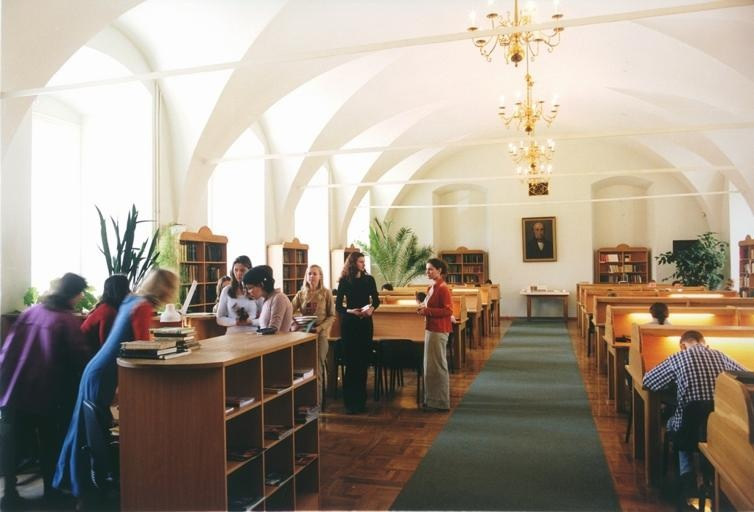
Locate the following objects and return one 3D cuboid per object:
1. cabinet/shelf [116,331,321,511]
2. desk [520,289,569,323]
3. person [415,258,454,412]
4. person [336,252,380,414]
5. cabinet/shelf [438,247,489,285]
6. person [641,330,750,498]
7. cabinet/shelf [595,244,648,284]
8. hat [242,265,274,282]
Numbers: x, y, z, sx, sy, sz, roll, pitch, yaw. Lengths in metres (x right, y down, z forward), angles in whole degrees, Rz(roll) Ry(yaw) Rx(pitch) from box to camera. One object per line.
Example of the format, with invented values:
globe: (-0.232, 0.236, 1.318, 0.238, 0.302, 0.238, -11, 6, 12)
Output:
cabinet/shelf: (-1.453, 1.500, 4.994, 0.580, 1.537, 1.703, -2, -2, 13)
desk: (5.817, 1.754, 19.390, 1.507, 0.960, 1.268, -1, -4, 13)
person: (0.811, 1.121, 7.902, 0.429, 2.115, 0.296, 1, 3, 7)
person: (-0.288, 1.082, 7.984, 0.591, 2.240, 0.388, 0, 3, 5)
cabinet/shelf: (2.915, 0.404, 18.690, 1.198, 1.299, 0.376, 0, -2, 9)
person: (3.064, 1.463, 5.632, 0.582, 1.345, 0.745, -2, 4, -37)
cabinet/shelf: (8.332, 0.349, 19.233, 1.222, 1.408, 0.400, 0, -4, 10)
hat: (-1.343, 0.193, 6.330, 0.214, 0.254, 0.290, -8, -9, -28)
